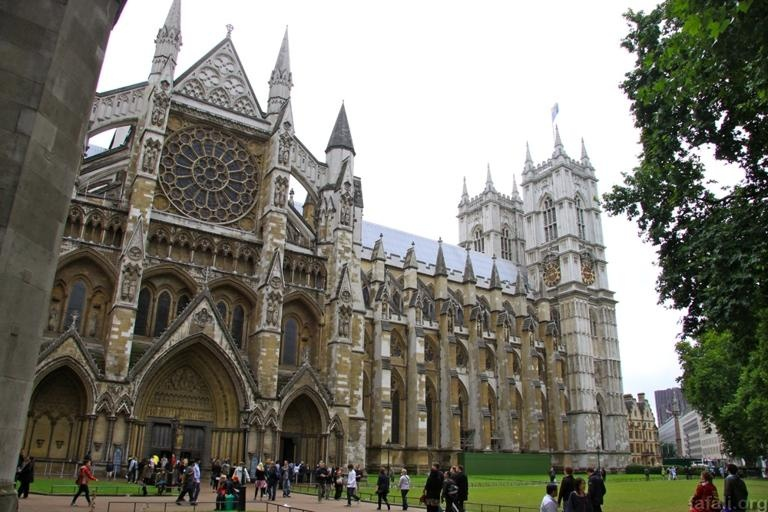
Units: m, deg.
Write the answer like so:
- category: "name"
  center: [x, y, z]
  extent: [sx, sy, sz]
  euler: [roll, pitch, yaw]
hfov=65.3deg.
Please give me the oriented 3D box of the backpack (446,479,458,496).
- category: "backpack"
  center: [1.946, 6.736, 17.312]
  extent: [0.352, 0.451, 0.251]
  euler: [16, -32, -30]

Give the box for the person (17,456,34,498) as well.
- category: "person"
  center: [-12.065, 7.488, 20.171]
  extent: [0.416, 1.279, 1.385]
  euler: [12, -26, -28]
